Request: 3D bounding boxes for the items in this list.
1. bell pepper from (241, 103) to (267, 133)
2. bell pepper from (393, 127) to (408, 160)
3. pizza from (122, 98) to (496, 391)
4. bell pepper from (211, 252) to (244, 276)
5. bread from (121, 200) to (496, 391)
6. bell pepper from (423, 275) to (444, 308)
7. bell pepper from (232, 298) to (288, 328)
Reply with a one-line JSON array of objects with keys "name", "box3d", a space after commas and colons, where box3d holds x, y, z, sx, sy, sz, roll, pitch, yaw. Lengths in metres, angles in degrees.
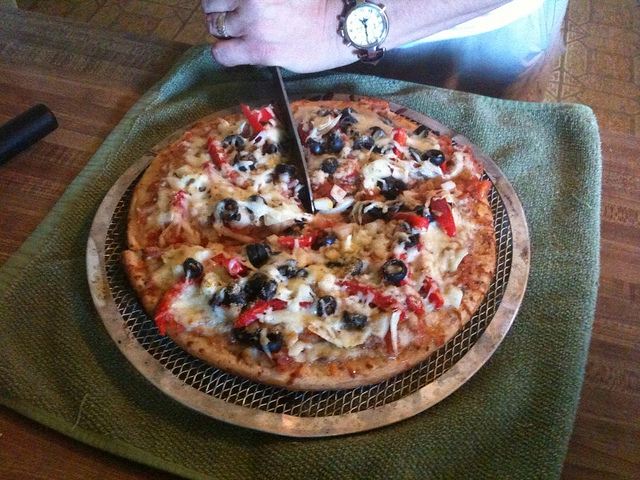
[{"name": "bell pepper", "box3d": [-0.292, -0.530, 2.550, 0.160, 0.016, 0.058, 45, 94, 8]}, {"name": "bell pepper", "box3d": [0.327, -0.416, 2.499, 0.058, 0.043, 0.150, -7, 47, -2]}, {"name": "pizza", "box3d": [-0.063, -0.026, 2.276, 1.454, 0.174, 1.146, -15, 48, -12]}, {"name": "bell pepper", "box3d": [-0.326, 0.083, 2.135, 0.099, 0.083, 0.031, 24, 107, -18]}, {"name": "bread", "box3d": [0.215, 0.267, 2.173, 1.273, 0.270, 0.455, -25, 83, -4]}, {"name": "bell pepper", "box3d": [0.403, 0.193, 2.138, 0.036, 0.056, 0.104, -24, 72, -20]}, {"name": "bell pepper", "box3d": [-0.218, 0.249, 2.056, 0.204, 0.037, 0.069, -28, 83, -4]}]
